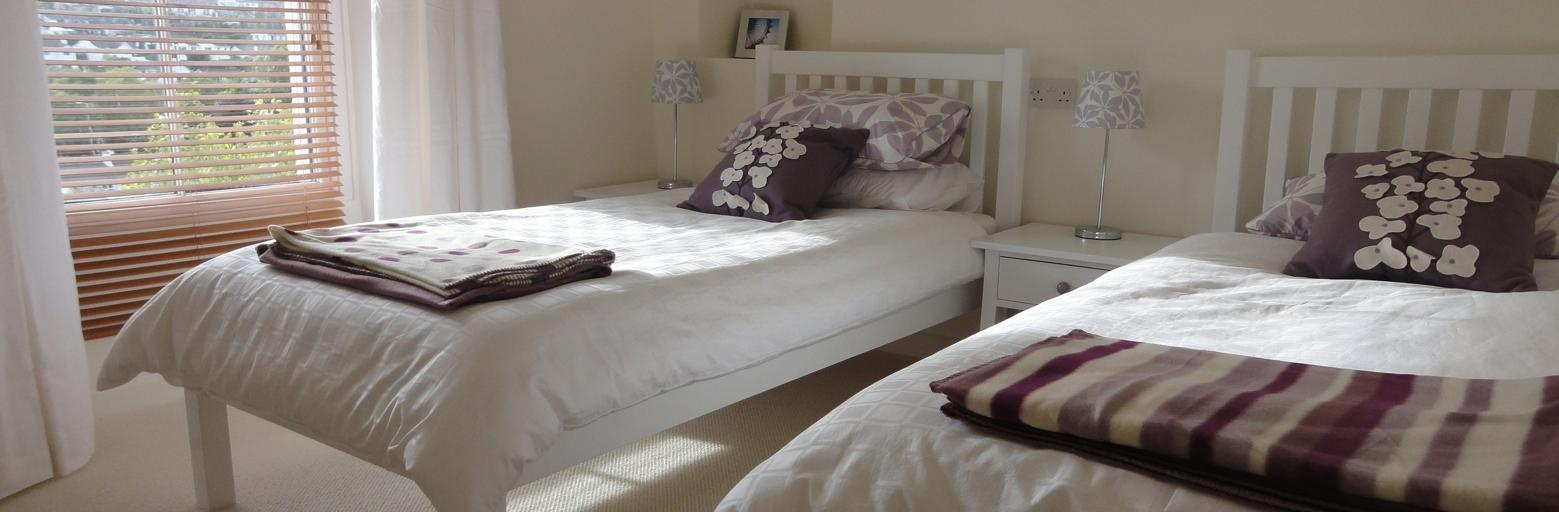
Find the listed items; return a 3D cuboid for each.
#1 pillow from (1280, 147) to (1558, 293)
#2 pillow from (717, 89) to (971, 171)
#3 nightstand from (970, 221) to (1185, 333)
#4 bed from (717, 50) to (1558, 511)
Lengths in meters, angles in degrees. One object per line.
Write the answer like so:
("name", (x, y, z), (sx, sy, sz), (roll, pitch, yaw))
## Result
("pillow", (4.018, -0.237, 5.014), (1.365, 0.788, 0.788), (5, 18, 17))
("pillow", (0.753, -1.008, 6.027), (1.762, 0.371, 0.847), (5, 20, 24))
("nightstand", (2.285, 0.027, 5.951), (1.430, 0.827, 0.954), (9, 14, 27))
("bed", (2.303, 0.145, 4.934), (4.641, 1.890, 1.327), (6, 10, 27))
